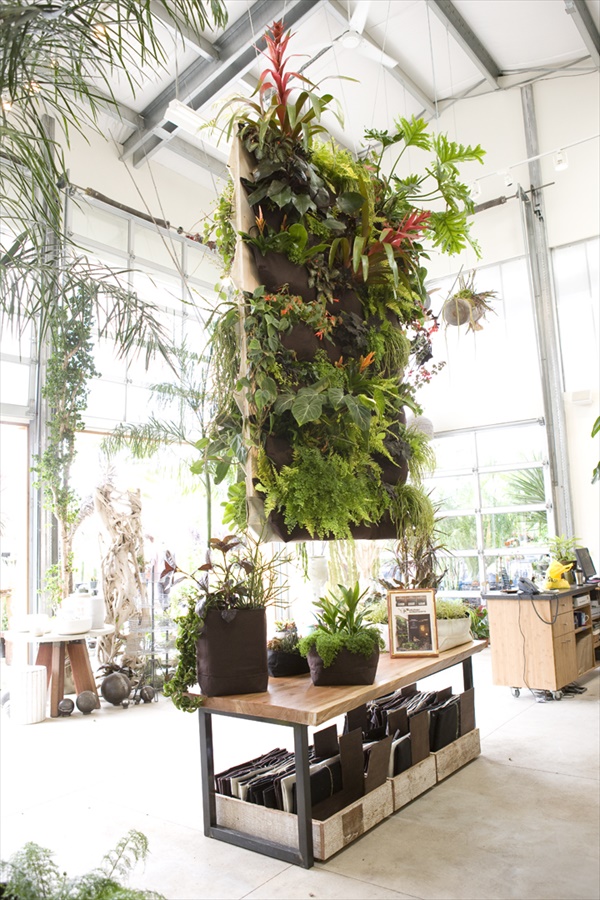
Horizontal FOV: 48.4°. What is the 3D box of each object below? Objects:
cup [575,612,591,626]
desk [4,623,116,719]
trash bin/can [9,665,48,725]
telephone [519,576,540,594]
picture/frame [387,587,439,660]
[{"bbox_3d":[2.335,1.412,5.564,0.131,0.146,0.089,-1,-12,16],"label":"cup"},{"bbox_3d":[-1.975,1.826,5.589,0.662,0.777,0.698,-16,-21,35],"label":"desk"},{"bbox_3d":[-2.090,1.891,5.152,0.282,0.415,0.221,3,-12,-25],"label":"trash bin/can"},{"bbox_3d":[1.738,1.042,5.080,0.095,0.053,0.128,19,13,-10],"label":"telephone"},{"bbox_3d":[0.518,0.807,3.071,0.287,0.419,0.033,-2,-23,5],"label":"picture/frame"}]
